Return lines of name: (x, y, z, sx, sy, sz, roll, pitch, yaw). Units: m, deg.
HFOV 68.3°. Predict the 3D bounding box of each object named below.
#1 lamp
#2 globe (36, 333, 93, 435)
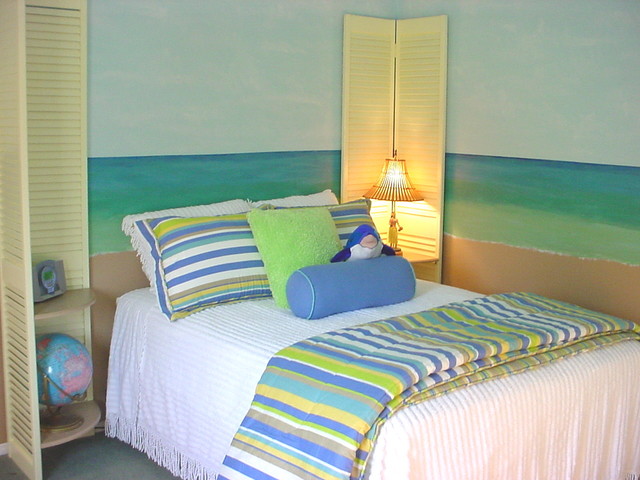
lamp: (0.603, -0.291, 3.839, 0.487, 0.772, 0.476, 4, 12, 15)
globe: (-1.328, 0.704, 2.489, 0.260, 0.507, 0.232, 15, 14, 36)
